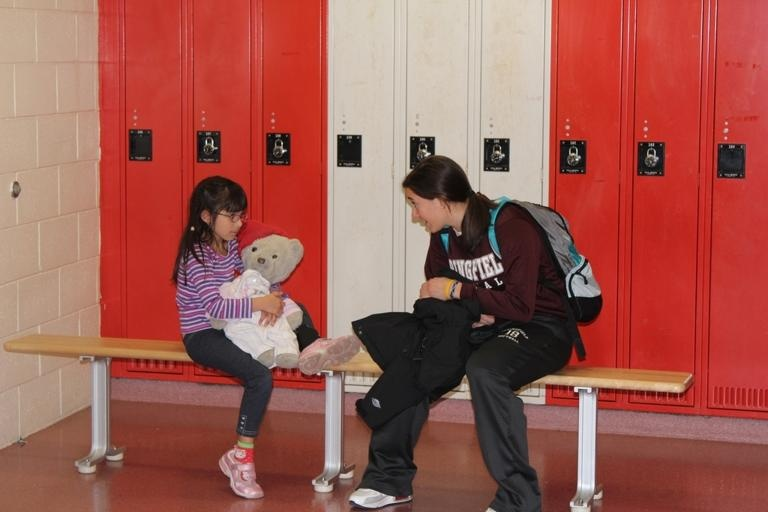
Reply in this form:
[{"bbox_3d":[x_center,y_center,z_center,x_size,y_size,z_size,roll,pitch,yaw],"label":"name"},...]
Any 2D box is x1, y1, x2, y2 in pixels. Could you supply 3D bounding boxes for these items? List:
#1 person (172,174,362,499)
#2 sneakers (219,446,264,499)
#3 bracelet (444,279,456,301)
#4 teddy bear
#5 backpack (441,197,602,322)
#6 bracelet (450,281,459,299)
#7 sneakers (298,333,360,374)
[{"bbox_3d":[-0.795,0.414,3.759,0.565,1.680,0.636,-8,13,-42],"label":"person"},{"bbox_3d":[-0.811,1.135,3.703,0.148,0.284,0.334,-7,12,-35],"label":"sneakers"},{"bbox_3d":[0.337,0.174,3.373,0.054,0.075,0.075,12,4,6],"label":"bracelet"},{"bbox_3d":[-0.694,0.188,3.736,0.521,0.695,0.672,6,6,-33],"label":"teddy bear"},{"bbox_3d":[0.734,0.021,3.395,0.728,0.686,0.449,-5,0,-3],"label":"backpack"},{"bbox_3d":[0.344,0.171,3.365,0.057,0.063,0.072,1,9,-3],"label":"bracelet"},{"bbox_3d":[-0.305,0.516,3.538,0.319,0.134,0.181,-28,8,-11],"label":"sneakers"}]
